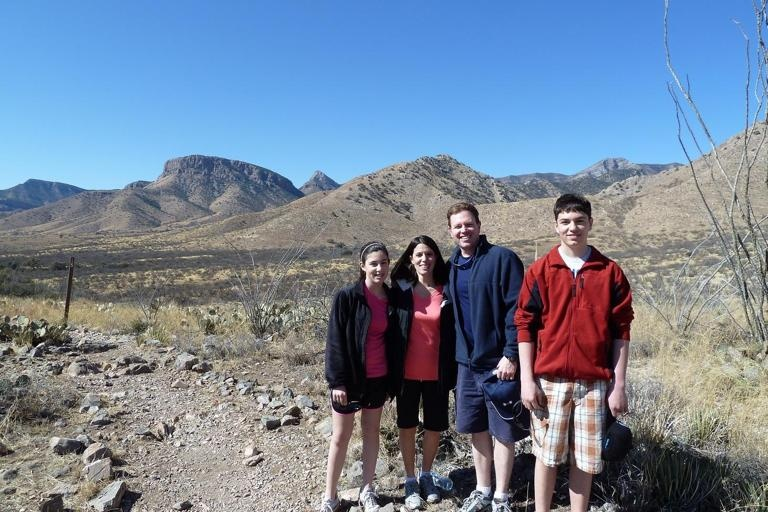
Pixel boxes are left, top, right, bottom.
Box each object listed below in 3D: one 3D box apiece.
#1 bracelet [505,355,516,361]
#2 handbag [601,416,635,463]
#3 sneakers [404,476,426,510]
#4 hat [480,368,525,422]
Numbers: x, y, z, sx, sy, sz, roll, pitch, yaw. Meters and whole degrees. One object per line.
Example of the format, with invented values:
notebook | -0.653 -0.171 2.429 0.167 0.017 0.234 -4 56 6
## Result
bracelet | 1.279 1.030 5.195 0.093 0.061 0.092 6 -6 -14
handbag | 2.202 1.733 4.887 0.272 0.437 0.171 -8 -11 22
sneakers | 0.304 2.557 5.567 0.269 0.311 0.222 -8 -11 23
hat | 1.217 1.394 5.205 0.403 0.283 0.525 15 -54 -4
